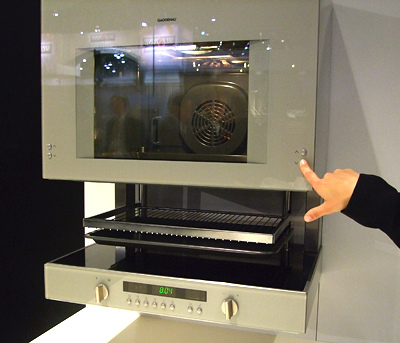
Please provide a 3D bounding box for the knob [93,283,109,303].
[{"bbox_3d":[-0.281,0.341,1.111,0.033,0.053,0.050,3,6,17],"label":"knob"}]

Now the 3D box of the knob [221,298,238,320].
[{"bbox_3d":[0.079,0.357,1.028,0.048,0.056,0.025,0,1,13],"label":"knob"}]
